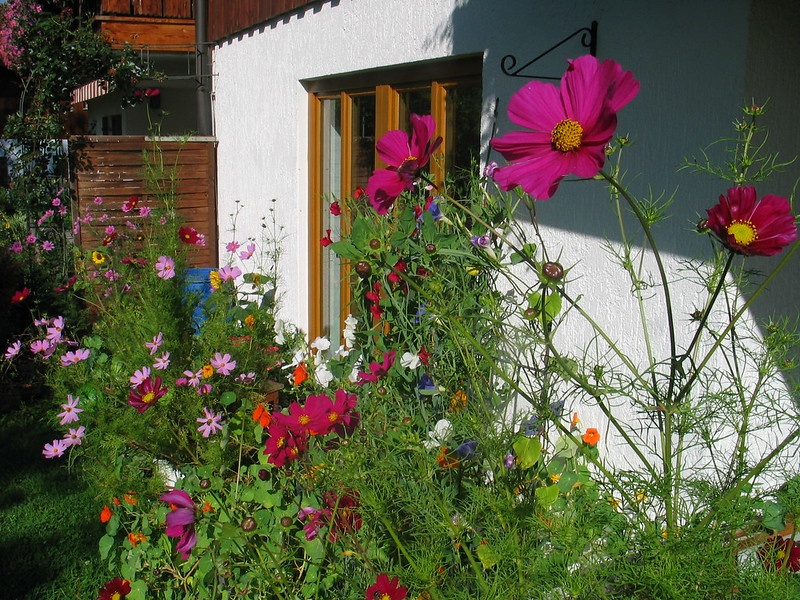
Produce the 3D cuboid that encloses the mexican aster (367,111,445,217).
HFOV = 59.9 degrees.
[{"bbox_3d":[0.004,-0.343,1.768,0.163,0.246,0.270,-1,7,-11],"label":"mexican aster"}]

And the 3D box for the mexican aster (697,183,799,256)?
[{"bbox_3d":[0.765,-0.133,1.554,0.159,0.174,0.074,32,-26,15],"label":"mexican aster"}]
